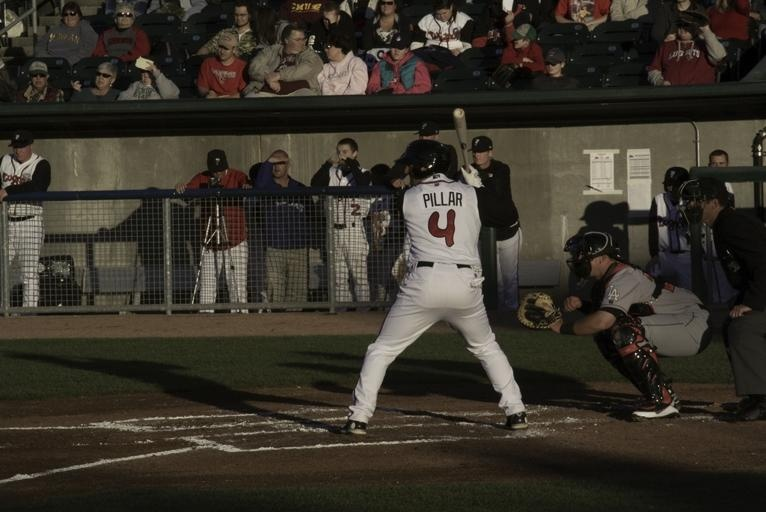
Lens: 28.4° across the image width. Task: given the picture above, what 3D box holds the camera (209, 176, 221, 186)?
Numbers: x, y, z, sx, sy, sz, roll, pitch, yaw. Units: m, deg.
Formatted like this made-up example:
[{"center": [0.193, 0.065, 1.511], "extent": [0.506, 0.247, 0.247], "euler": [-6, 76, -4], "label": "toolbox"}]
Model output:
[{"center": [-2.337, -1.028, 20.980], "extent": [0.134, 0.047, 0.154], "euler": [-1, -24, 5], "label": "camera"}]

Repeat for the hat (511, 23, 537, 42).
[{"center": [2.071, -3.253, 22.118], "extent": [0.357, 0.151, 0.218], "euler": [-2, 20, -6], "label": "hat"}]

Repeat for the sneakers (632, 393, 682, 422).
[{"center": [2.955, 1.663, 16.356], "extent": [0.615, 0.256, 0.203], "euler": [1, 0, -7], "label": "sneakers"}]

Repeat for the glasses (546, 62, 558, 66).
[{"center": [2.382, -2.713, 21.470], "extent": [0.096, 0.019, 0.045], "euler": [-1, -35, 11], "label": "glasses"}]

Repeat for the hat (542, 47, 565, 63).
[{"center": [2.455, -2.832, 21.513], "extent": [0.218, 0.149, 0.315], "euler": [7, 9, 39], "label": "hat"}]

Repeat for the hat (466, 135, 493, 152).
[{"center": [1.359, -1.499, 20.391], "extent": [0.238, 0.150, 0.315], "euler": [3, 1, 34], "label": "hat"}]

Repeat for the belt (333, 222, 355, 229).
[{"center": [-0.522, -0.402, 20.422], "extent": [0.285, 0.082, 0.017], "euler": [5, 15, 5], "label": "belt"}]

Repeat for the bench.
[{"center": [-3.496, 0.414, 19.979], "extent": [6.522, 0.723, 1.227], "euler": [-1, -2, -5], "label": "bench"}]

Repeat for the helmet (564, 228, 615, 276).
[{"center": [2.328, -0.029, 16.614], "extent": [0.608, 0.409, 0.466], "euler": [1, 6, 11], "label": "helmet"}]

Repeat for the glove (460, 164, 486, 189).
[{"center": [0.978, -0.866, 16.997], "extent": [0.245, 0.298, 0.116], "euler": [-9, -26, -34], "label": "glove"}]

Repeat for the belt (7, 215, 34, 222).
[{"center": [-4.933, -0.503, 20.591], "extent": [0.328, 0.092, 0.056], "euler": [1, 15, -13], "label": "belt"}]

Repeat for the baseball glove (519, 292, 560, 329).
[{"center": [1.724, 0.619, 16.701], "extent": [0.488, 0.384, 0.273], "euler": [8, 14, 16], "label": "baseball glove"}]

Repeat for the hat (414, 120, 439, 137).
[{"center": [0.593, -1.684, 20.266], "extent": [0.265, 0.146, 0.318], "euler": [-1, 14, -12], "label": "hat"}]

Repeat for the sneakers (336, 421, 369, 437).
[{"center": [-0.309, 1.826, 16.179], "extent": [0.300, 0.193, 0.183], "euler": [4, 13, -2], "label": "sneakers"}]

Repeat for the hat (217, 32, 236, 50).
[{"center": [-2.273, -3.101, 22.044], "extent": [0.284, 0.275, 0.299], "euler": [4, 33, -9], "label": "hat"}]

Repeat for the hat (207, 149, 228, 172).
[{"center": [-2.287, -1.316, 20.958], "extent": [0.290, 0.235, 0.343], "euler": [-3, 6, -3], "label": "hat"}]

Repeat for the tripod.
[{"center": [-2.154, -0.071, 20.431], "extent": [0.711, 1.386, 0.505], "euler": [4, 15, -6], "label": "tripod"}]

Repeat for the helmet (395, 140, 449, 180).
[{"center": [0.474, -1.032, 16.364], "extent": [0.507, 0.427, 0.225], "euler": [5, 14, 0], "label": "helmet"}]
